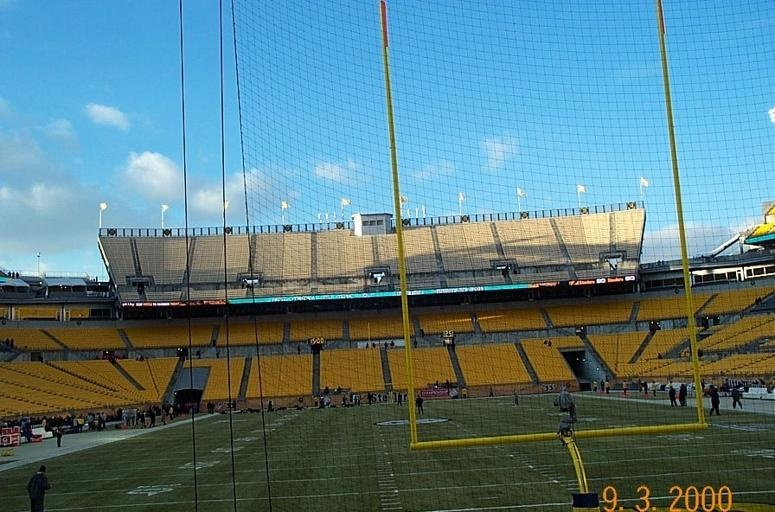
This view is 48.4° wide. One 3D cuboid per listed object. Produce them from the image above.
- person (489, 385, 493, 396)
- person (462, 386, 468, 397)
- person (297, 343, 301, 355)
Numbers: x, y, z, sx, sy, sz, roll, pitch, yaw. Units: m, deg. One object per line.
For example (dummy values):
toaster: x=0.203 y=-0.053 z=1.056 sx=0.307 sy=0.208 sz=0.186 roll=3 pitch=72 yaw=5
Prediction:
person: x=7.859 y=10.172 z=65.420 sx=0.296 sy=0.706 sz=0.608 roll=-8 pitch=-12 yaw=8
person: x=5.751 y=10.133 z=64.506 sx=0.303 sy=0.794 sz=0.774 roll=-13 pitch=-13 yaw=29
person: x=-7.175 y=7.534 z=70.431 sx=0.411 sy=0.837 sz=1.035 roll=-5 pitch=-11 yaw=-6
